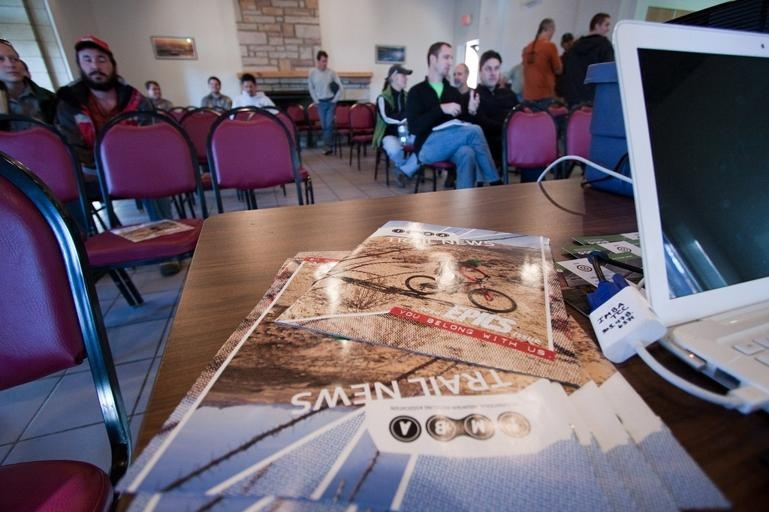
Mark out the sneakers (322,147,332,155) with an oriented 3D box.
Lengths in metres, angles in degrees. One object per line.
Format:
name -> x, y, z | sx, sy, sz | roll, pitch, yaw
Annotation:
sneakers -> -0.858, -1.517, 6.907 | 0.094, 0.115, 0.255 | -21, 20, 4

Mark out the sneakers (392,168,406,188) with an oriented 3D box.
sneakers -> 0.123, -0.733, 4.322 | 0.087, 0.197, 0.073 | -1, -11, -29

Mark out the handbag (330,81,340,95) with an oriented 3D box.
handbag -> -0.758, -2.502, 6.996 | 0.128, 0.174, 0.042 | -11, 19, -28
